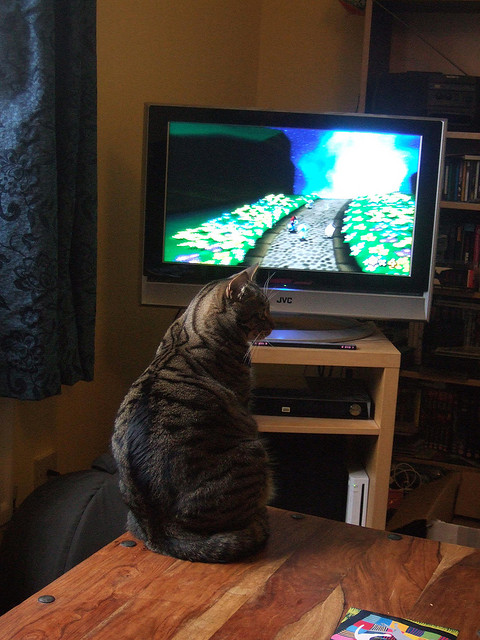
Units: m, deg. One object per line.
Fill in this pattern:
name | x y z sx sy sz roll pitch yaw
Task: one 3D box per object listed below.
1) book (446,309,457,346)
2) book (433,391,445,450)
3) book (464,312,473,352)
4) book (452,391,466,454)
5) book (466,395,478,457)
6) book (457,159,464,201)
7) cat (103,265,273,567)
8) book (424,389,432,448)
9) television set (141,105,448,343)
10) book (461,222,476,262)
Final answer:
book | 0.803 0.031 2.072 0.034 0.135 0.021 0 -4 18
book | 0.768 0.392 2.112 0.020 0.222 0.041 2 -4 -24
book | 0.860 0.047 2.053 0.028 0.148 0.020 -1 -4 22
book | 0.836 0.393 2.093 0.042 0.234 0.020 0 -4 16
book | 0.879 0.403 2.070 0.044 0.235 0.012 -3 -5 45
book | 0.808 -0.514 2.004 0.017 0.149 0.026 1 -4 -10
cat | -0.070 0.163 1.072 0.317 0.565 0.285 -5 -36 19
book | 0.729 0.383 2.119 0.021 0.227 0.038 1 -4 -3
television set | 0.138 -0.289 1.571 0.795 0.516 0.225 3 10 0
book | 0.851 -0.287 2.033 0.051 0.140 0.019 0 -4 19
